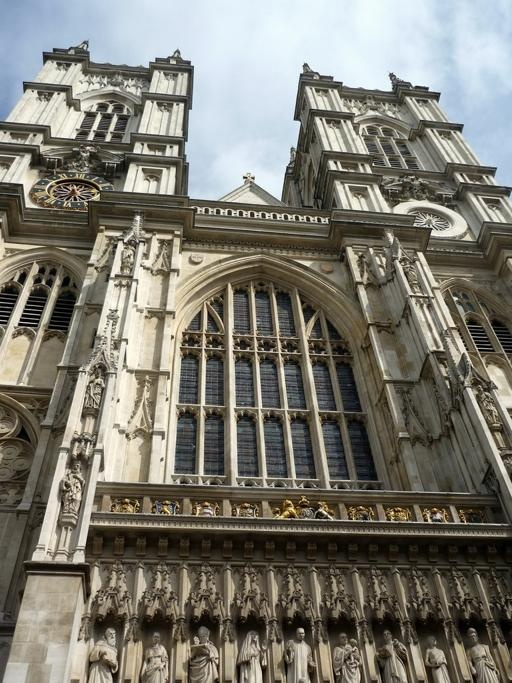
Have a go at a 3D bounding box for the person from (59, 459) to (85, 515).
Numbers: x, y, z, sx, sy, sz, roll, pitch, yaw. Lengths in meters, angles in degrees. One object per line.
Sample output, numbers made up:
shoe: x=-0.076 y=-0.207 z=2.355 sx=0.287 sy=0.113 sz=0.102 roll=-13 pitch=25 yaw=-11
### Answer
person: x=-3.230 y=2.521 z=9.292 sx=0.402 sy=1.049 sz=0.241 roll=26 pitch=-59 yaw=-31
